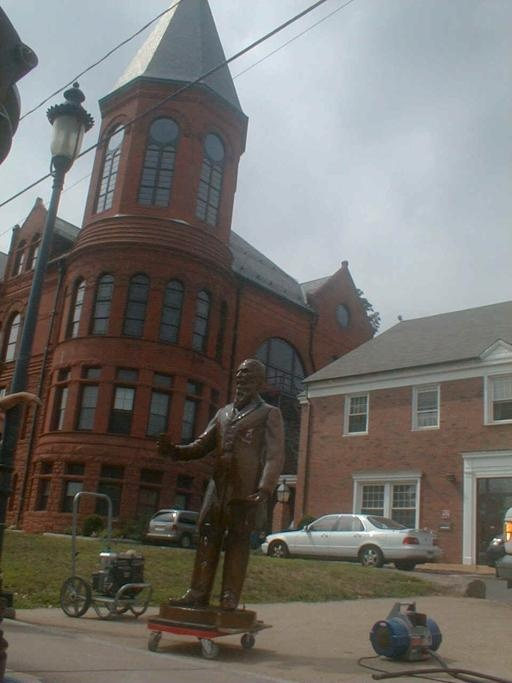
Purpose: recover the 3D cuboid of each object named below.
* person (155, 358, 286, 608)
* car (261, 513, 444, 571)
[{"bbox_3d":[-0.128,1.153,5.446,0.522,2.071,0.754,22,-27,-34],"label":"person"},{"bbox_3d":[2.447,5.236,17.071,4.265,1.293,0.749,-11,-27,37],"label":"car"}]
